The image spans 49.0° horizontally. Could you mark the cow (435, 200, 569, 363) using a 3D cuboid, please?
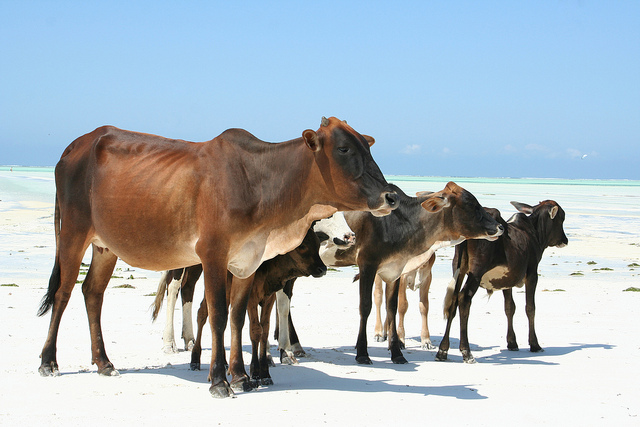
[{"bbox_3d":[4.618,1.531,17.007,4.803,3.720,1.401,4,-3,-40],"label":"cow"}]
